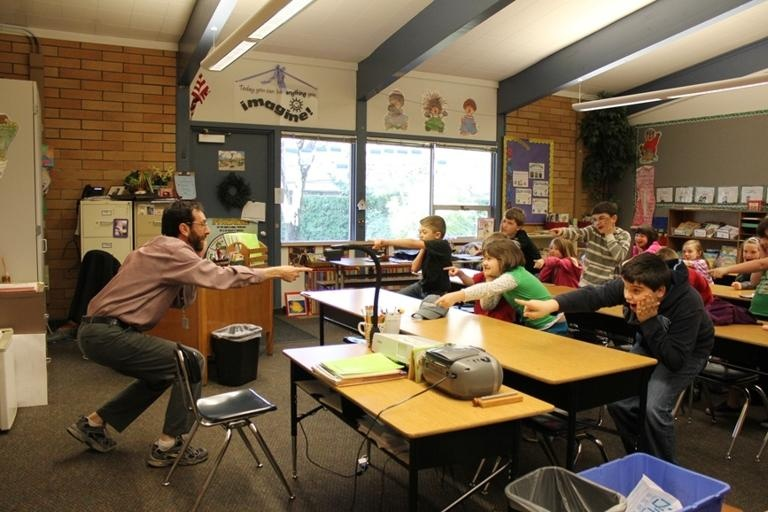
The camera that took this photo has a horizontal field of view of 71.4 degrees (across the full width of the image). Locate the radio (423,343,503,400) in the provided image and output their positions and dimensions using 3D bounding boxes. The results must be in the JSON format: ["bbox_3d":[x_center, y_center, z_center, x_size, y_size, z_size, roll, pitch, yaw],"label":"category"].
[{"bbox_3d":[0.454,0.704,3.350,0.521,0.277,0.401,14,10,38],"label":"radio"}]

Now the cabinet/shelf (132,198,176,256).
[{"bbox_3d":[-3.190,-0.437,7.568,0.717,0.961,0.612,0,8,-21],"label":"cabinet/shelf"}]

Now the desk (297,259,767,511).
[{"bbox_3d":[1.193,1.008,4.016,1.254,0.430,1.786,2,2,-29],"label":"desk"}]

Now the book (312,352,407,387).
[{"bbox_3d":[-0.161,0.760,3.626,0.601,0.075,0.312,-3,13,-17],"label":"book"}]

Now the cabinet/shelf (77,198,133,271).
[{"bbox_3d":[-3.660,-0.266,7.060,0.649,0.879,0.440,-1,8,-28],"label":"cabinet/shelf"}]

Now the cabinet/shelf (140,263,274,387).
[{"bbox_3d":[-2.154,0.664,6.327,0.872,1.314,1.464,3,4,33],"label":"cabinet/shelf"}]

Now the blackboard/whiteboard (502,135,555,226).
[{"bbox_3d":[2.785,-1.373,10.295,0.055,1.600,1.151,-18,22,-37],"label":"blackboard/whiteboard"}]

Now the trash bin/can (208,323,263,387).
[{"bbox_3d":[-1.605,1.060,5.916,0.606,0.663,0.594,-1,0,-25],"label":"trash bin/can"}]
